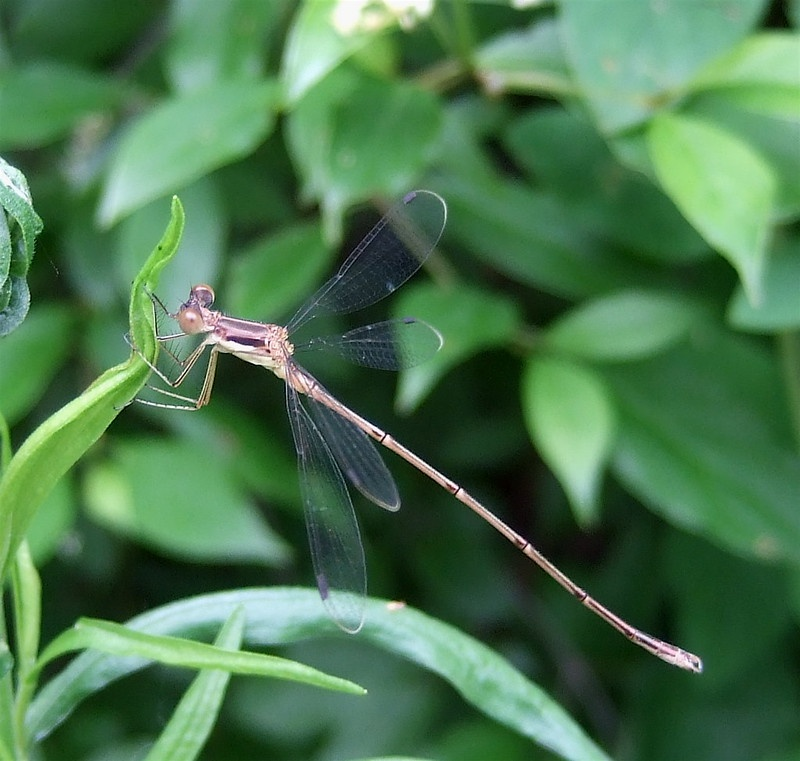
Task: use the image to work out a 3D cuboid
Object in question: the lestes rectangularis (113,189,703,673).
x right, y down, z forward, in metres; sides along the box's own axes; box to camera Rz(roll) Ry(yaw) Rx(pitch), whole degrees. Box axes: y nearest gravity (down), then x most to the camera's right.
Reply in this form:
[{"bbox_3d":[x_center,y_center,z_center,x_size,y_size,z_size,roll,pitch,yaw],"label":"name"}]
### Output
[{"bbox_3d":[-0.021,0.195,1.865,0.892,0.975,0.429,-17,4,-17],"label":"lestes rectangularis"}]
